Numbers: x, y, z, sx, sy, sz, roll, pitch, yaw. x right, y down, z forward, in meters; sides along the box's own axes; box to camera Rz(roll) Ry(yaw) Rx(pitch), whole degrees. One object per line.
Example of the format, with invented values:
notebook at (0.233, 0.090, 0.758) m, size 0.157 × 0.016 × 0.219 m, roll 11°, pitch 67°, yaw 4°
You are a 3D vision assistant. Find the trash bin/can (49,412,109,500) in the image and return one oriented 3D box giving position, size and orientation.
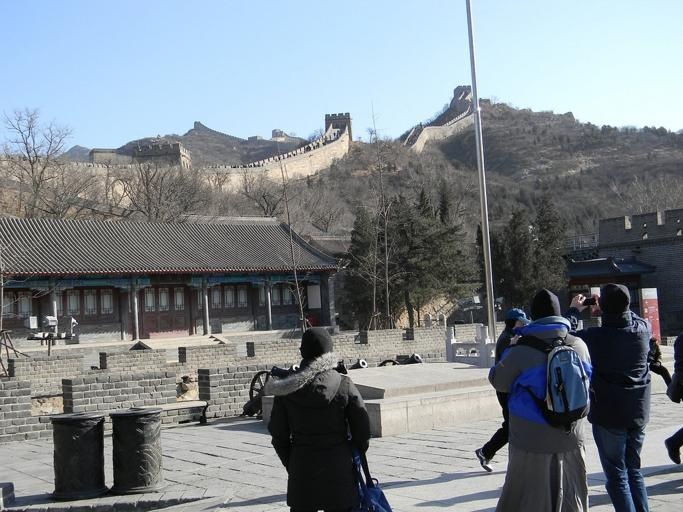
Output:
trash bin/can at (-3.507, 2.641, 9.915) m, size 0.673 × 1.085 × 0.428 m, roll -2°, pitch -5°, yaw -19°

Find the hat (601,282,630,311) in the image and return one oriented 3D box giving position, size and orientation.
hat at (3.034, 0.448, 8.273) m, size 0.243 × 0.325 × 0.333 m, roll 5°, pitch 8°, yaw 9°

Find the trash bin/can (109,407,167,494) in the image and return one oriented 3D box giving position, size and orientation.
trash bin/can at (-2.686, 2.669, 10.435) m, size 0.958 × 1.314 × 0.908 m, roll 5°, pitch -10°, yaw -35°

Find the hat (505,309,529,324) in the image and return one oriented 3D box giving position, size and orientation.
hat at (2.272, 0.759, 9.694) m, size 0.246 × 0.246 × 0.199 m, roll -16°, pitch 8°, yaw -19°

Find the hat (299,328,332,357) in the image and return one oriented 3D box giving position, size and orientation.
hat at (-0.266, 0.859, 7.490) m, size 0.235 × 0.312 × 0.312 m, roll 0°, pitch 2°, yaw 6°

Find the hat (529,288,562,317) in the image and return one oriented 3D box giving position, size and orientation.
hat at (2.090, 0.464, 7.644) m, size 0.242 × 0.318 × 0.327 m, roll 1°, pitch 6°, yaw 13°

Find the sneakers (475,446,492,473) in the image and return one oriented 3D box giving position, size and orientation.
sneakers at (1.798, 2.595, 9.544) m, size 0.175 × 0.444 × 0.144 m, roll -10°, pitch 16°, yaw 21°
